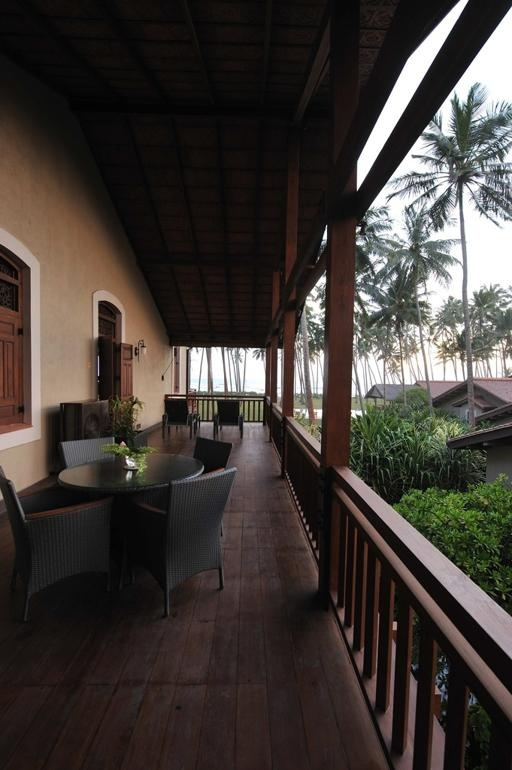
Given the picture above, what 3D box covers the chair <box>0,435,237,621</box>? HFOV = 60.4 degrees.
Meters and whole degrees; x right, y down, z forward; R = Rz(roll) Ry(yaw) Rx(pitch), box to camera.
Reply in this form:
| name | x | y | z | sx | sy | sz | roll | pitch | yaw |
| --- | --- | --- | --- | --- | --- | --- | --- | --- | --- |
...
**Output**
| name | x | y | z | sx | sy | sz | roll | pitch | yaw |
| --- | --- | --- | --- | --- | --- | --- | --- | --- | --- |
| chair | -0.767 | 0.802 | 2.524 | 1.166 | 0.746 | 0.858 | 1 | 1 | -8 |
